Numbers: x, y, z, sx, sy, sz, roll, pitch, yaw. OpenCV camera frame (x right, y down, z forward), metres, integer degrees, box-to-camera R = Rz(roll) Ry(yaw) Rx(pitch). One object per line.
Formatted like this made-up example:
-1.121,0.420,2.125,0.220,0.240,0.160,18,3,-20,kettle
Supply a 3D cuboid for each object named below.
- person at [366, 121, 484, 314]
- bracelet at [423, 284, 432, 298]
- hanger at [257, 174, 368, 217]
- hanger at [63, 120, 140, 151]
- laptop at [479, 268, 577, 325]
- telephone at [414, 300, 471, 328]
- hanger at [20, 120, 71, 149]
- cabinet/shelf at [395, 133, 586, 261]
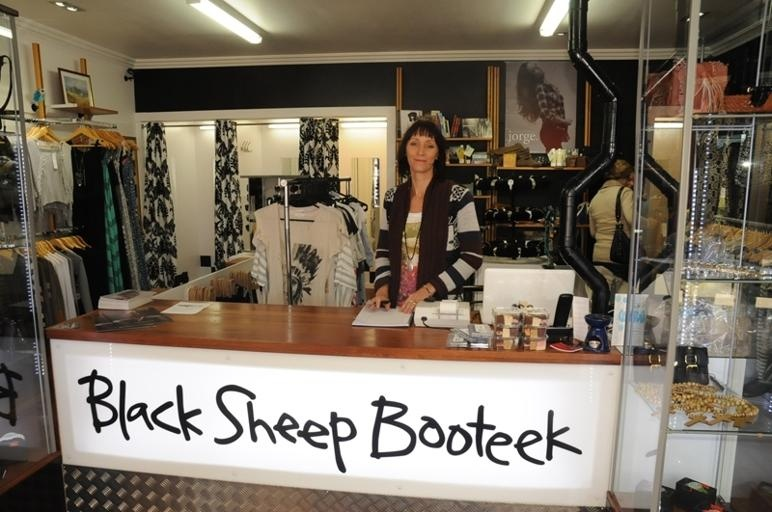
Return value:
0.271,-0.282,3.919,0.786,1.325,0.494,2,7,20,person
0.283,0.240,3.737,0.026,0.078,0.056,8,3,4,bracelet
-0.580,-0.547,4.760,0.791,0.278,1.243,-1,7,-8,hanger
-2.988,-1.277,6.125,0.473,0.201,0.636,9,11,21,hanger
0.877,0.185,3.577,0.580,0.411,0.320,1,5,5,laptop
0.348,0.366,3.505,0.352,0.169,0.149,0,7,5,telephone
-3.373,-1.218,5.556,0.324,0.240,0.596,-5,8,-31,hanger
1.124,-0.630,5.599,1.556,1.523,0.505,0,8,7,cabinet/shelf
